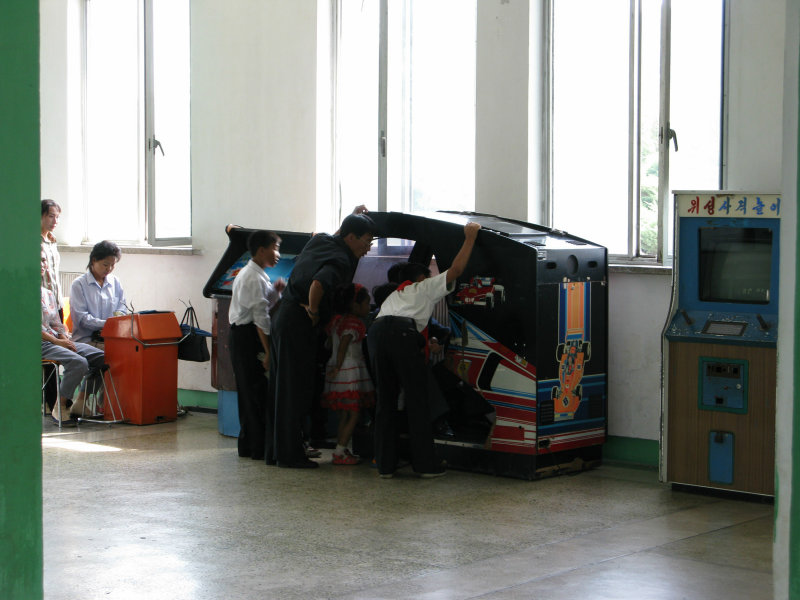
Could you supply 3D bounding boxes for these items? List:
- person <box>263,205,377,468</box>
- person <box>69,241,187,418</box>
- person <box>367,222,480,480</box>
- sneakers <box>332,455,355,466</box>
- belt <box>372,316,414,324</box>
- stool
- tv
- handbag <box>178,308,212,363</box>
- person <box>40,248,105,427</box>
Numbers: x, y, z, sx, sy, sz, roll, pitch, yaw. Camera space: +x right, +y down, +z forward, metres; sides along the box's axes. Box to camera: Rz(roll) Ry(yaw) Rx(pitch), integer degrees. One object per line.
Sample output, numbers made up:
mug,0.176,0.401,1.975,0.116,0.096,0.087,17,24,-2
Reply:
person,-0.632,0.301,5.998,0.801,1.882,0.432,0,3,1
person,-2.623,-0.098,8.271,0.816,1.404,0.801,-9,-3,30
person,0.116,0.351,5.697,0.686,1.741,0.228,0,3,4
sneakers,-0.431,1.197,6.159,0.139,0.064,0.077,-1,1,1
belt,-0.049,0.127,5.659,0.273,0.050,0.075,1,4,16
stool,-3.013,0.823,7.744,0.567,0.614,0.809,2,-3,-40
tv,2.137,-0.233,5.232,0.432,0.472,0.079,1,3,26
handbag,-1.994,0.333,7.918,0.182,0.520,0.505,-1,-1,-38
person,-3.118,0.331,7.607,0.628,1.611,0.541,1,3,26
